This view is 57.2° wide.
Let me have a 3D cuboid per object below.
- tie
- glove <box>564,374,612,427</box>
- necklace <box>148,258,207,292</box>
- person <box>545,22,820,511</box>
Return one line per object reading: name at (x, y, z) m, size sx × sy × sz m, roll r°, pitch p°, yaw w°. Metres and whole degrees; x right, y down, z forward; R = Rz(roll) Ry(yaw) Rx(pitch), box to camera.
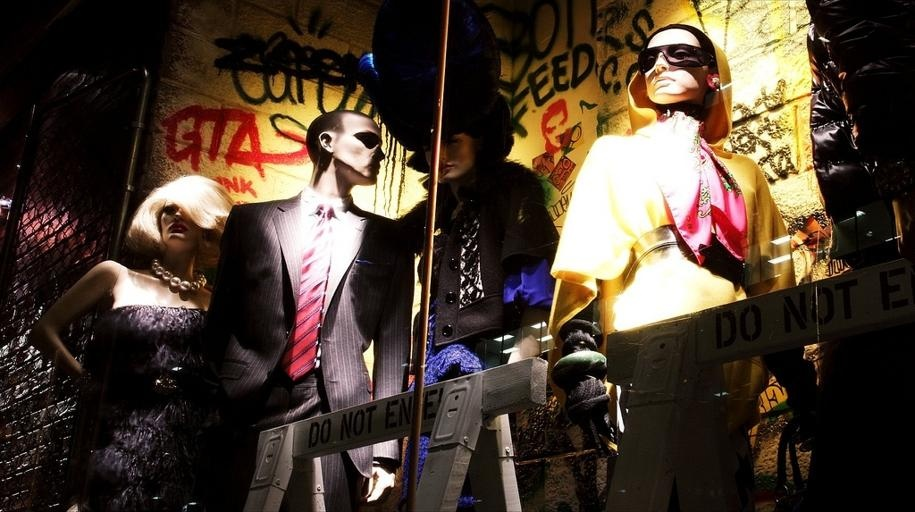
tie at (-0.603, 0.183, 3.393) m, size 0.142 × 0.634 × 0.059 m, roll 13°, pitch -25°, yaw -8°
glove at (0.395, 0.444, 2.562) m, size 0.130 × 0.127 × 0.100 m, roll -3°, pitch -25°, yaw 7°
necklace at (-1.197, 0.100, 3.570) m, size 0.174 × 0.160 × 0.035 m, roll 31°, pitch -57°, yaw -3°
person at (0.730, -0.285, 2.994) m, size 0.866 × 1.306 × 0.484 m, roll -4°, pitch -26°, yaw 8°
